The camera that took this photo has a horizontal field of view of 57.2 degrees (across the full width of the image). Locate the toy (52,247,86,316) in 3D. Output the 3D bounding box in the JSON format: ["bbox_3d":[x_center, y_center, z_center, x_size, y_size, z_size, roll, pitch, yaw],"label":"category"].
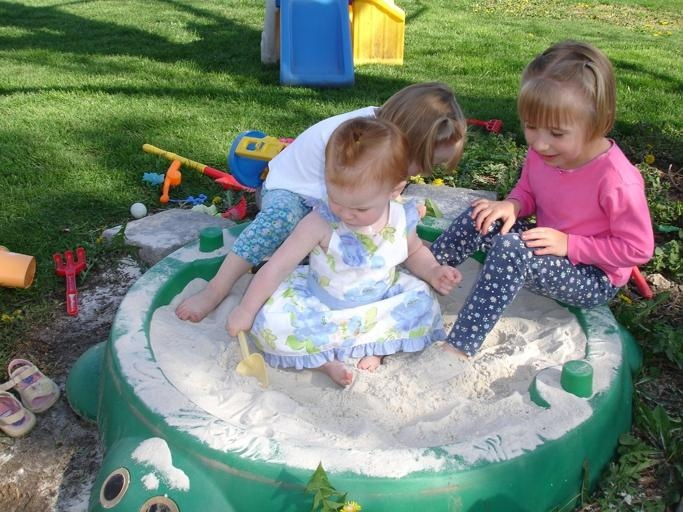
[{"bbox_3d":[-1.422,0.131,3.277,0.159,0.057,0.410,-3,61,-12],"label":"toy"}]
